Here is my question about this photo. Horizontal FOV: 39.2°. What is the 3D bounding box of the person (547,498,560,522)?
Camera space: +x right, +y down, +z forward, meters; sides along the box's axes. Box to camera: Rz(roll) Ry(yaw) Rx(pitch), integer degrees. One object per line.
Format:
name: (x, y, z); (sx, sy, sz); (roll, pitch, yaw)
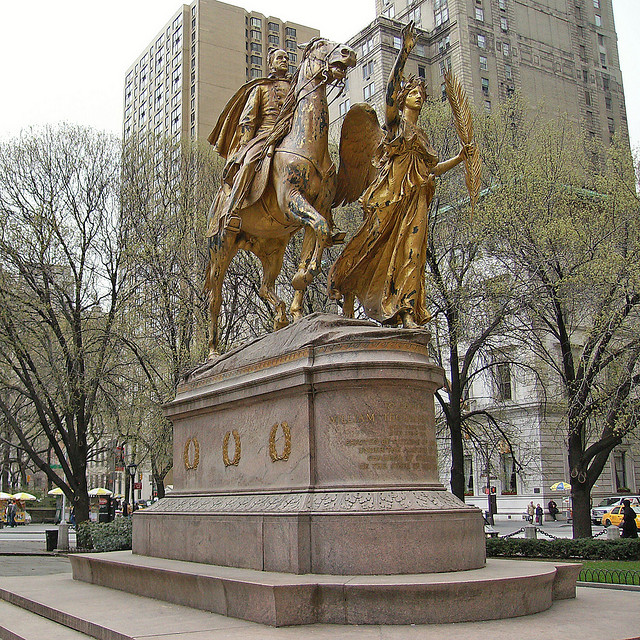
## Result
person: (10.882, 8.903, 42.020); (0.345, 1.217, 0.842); (0, 13, 28)

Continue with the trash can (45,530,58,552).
trash can: (-8.264, 6.715, 27.627); (0.429, 0.878, 0.493); (4, -25, -17)

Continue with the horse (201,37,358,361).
horse: (-0.816, -1.749, 15.007); (1.577, 4.198, 5.592); (0, -13, -30)

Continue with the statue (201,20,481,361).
statue: (0.553, -1.581, 15.397); (3.928, 5.327, 4.680); (12, -24, -34)
